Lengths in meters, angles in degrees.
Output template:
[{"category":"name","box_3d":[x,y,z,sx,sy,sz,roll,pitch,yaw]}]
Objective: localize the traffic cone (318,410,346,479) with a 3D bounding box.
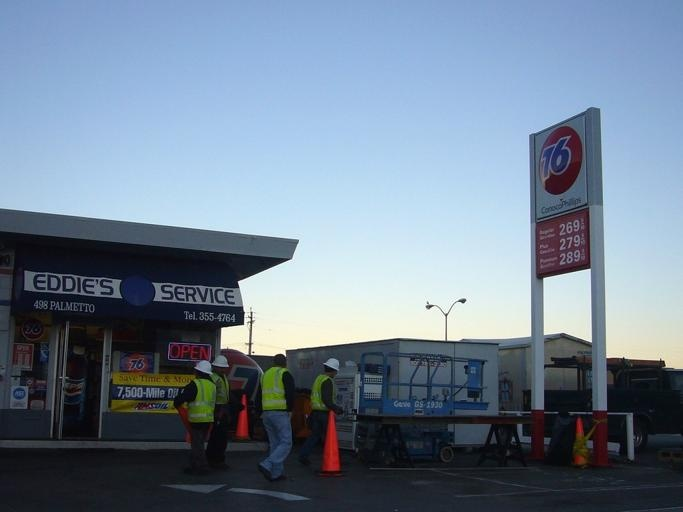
[{"category":"traffic cone","box_3d":[-0.228,4.137,15.676,0.454,1.373,0.800,1,-13,0]}]

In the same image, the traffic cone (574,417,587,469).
[{"category":"traffic cone","box_3d":[6.408,4.963,18.937,0.326,1.275,0.481,-8,-15,36]}]

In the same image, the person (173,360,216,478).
[{"category":"person","box_3d":[-3.119,3.414,15.116,0.745,2.371,0.855,3,-13,-8]}]
